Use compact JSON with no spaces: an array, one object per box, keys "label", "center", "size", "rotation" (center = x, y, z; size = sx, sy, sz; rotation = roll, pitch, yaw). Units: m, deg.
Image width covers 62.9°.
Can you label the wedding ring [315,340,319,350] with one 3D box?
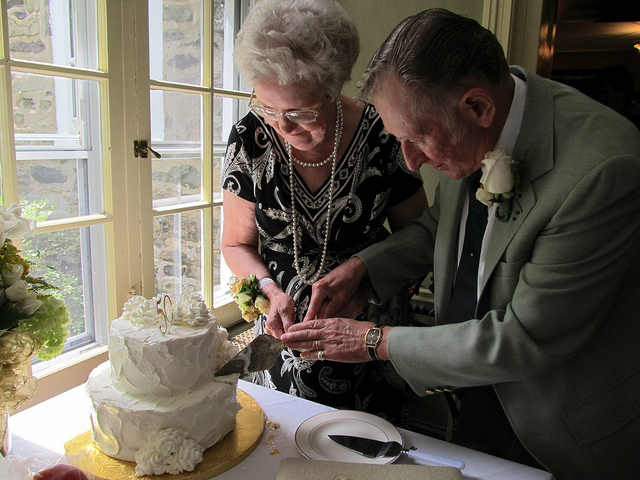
[{"label":"wedding ring","center":[-0.008,0.345,1.709],"size":[0.011,0.032,0.005],"rotation":[7,15,25]}]

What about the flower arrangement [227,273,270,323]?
[{"label":"flower arrangement","center":[-0.241,0.209,1.978],"size":[0.168,0.177,0.159],"rotation":[10,-6,10]}]

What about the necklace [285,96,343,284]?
[{"label":"necklace","center":[-0.020,-0.173,1.913],"size":[0.218,0.650,0.167],"rotation":[0,14,-1]}]

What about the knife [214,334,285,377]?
[{"label":"knife","center":[-0.237,0.385,1.653],"size":[0.325,0.115,0.017],"rotation":[-29,-3,30]}]

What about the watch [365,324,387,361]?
[{"label":"watch","center":[0.176,0.334,1.674],"size":[0.054,0.106,0.068],"rotation":[6,15,22]}]

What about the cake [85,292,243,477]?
[{"label":"cake","center":[-0.472,0.385,1.612],"size":[0.438,0.439,0.465],"rotation":[9,16,17]}]

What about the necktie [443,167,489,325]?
[{"label":"necktie","center":[0.477,0.013,1.723],"size":[0.065,0.561,0.087],"rotation":[14,-17,-24]}]

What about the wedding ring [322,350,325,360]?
[{"label":"wedding ring","center":[0.011,0.376,1.703],"size":[0.008,0.024,0.003],"rotation":[6,15,22]}]

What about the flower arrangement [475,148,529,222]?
[{"label":"flower arrangement","center":[0.527,-0.154,1.514],"size":[0.181,0.190,0.091],"rotation":[-4,0,44]}]
